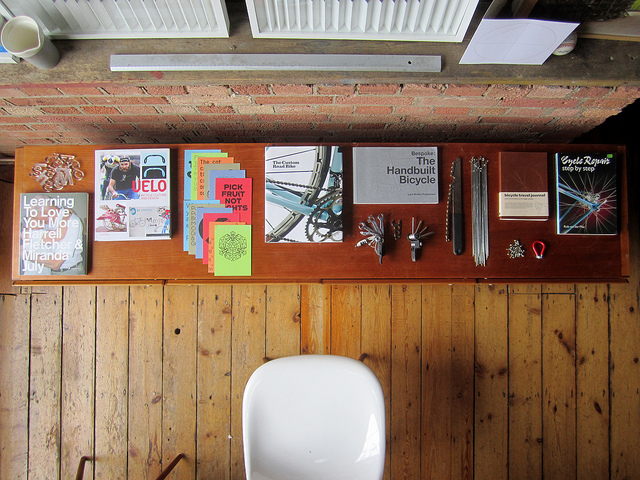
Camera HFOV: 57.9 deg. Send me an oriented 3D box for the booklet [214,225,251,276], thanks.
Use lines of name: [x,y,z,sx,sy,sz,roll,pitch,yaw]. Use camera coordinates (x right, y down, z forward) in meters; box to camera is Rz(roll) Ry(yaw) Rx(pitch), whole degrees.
booklet: [-0.469,0.064,3.061,0.234,0.091,0.244,4,107,-8]

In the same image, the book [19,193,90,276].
book: [-1.409,-0.030,3.041,0.350,0.065,0.429,1,81,0]

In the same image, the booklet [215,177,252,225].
booklet: [-0.473,-0.208,3.064,0.250,0.028,0.322,-1,87,-3]

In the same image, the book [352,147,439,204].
book: [0.385,-0.342,3.066,0.452,0.086,0.293,0,89,-1]

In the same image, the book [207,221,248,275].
book: [-0.506,0.050,3.060,0.265,0.060,0.257,1,96,-3]

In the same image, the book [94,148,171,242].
book: [-0.996,-0.238,3.052,0.393,0.082,0.465,-1,81,-1]

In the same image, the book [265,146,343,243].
book: [-0.090,-0.241,3.065,0.399,0.089,0.493,0,81,0]

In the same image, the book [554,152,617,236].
book: [1.404,-0.245,3.006,0.324,0.102,0.434,0,94,3]

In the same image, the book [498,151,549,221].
book: [1.075,-0.285,3.066,0.248,0.078,0.343,0,81,0]

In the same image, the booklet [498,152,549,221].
booklet: [1.070,-0.278,3.107,0.256,0.082,0.352,0,82,1]

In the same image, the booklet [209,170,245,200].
booklet: [-0.498,-0.308,3.062,0.188,0.019,0.124,-2,81,-1]

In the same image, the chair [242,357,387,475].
chair: [-0.037,0.915,3.109,0.717,0.538,0.575,1,81,0]

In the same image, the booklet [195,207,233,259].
booklet: [-0.570,-0.033,3.060,0.260,0.027,0.346,3,90,-4]
